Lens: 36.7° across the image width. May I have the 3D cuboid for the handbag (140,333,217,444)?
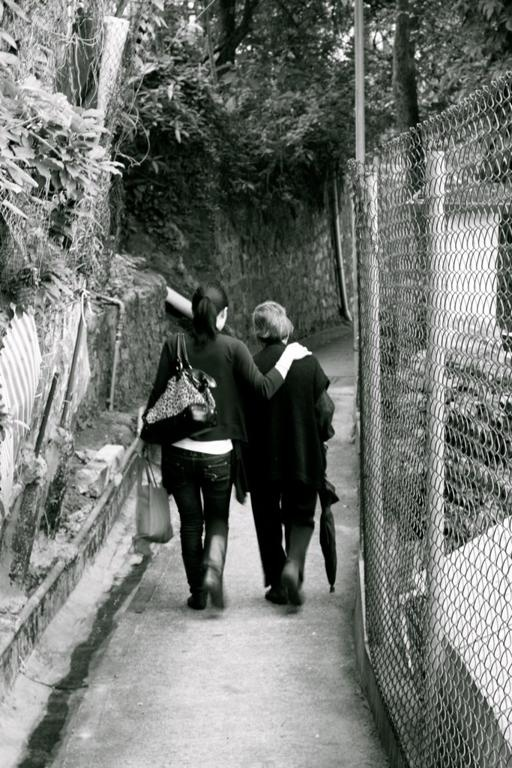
[{"bbox_3d":[-0.397,0.025,3.955,0.339,0.619,0.198,-10,-25,9],"label":"handbag"}]

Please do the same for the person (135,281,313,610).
[{"bbox_3d":[-0.221,0.355,4.037,0.752,1.746,0.472,-1,2,-14],"label":"person"}]
